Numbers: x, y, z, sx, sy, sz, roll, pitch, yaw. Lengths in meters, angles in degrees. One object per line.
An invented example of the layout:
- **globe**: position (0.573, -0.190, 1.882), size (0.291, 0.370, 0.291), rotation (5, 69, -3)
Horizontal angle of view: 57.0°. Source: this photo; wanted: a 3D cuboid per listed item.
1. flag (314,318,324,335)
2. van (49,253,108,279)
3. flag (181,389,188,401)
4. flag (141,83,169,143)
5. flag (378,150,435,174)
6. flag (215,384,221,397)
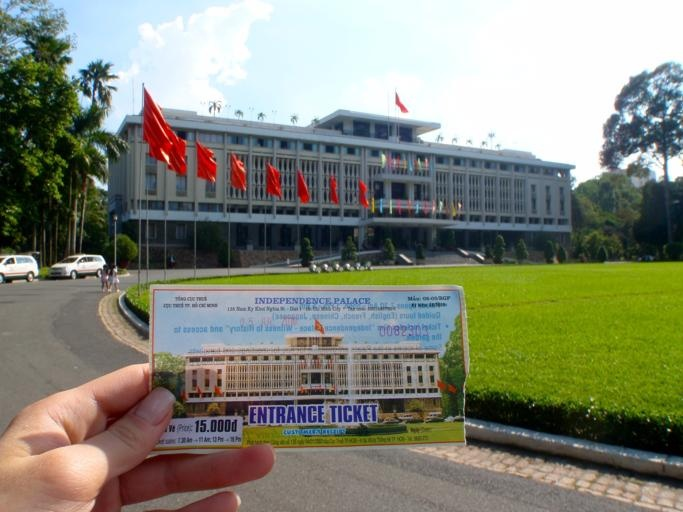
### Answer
- **flag**: position (-0.251, 0.809, 7.184), size (0.124, 0.212, 0.015), rotation (8, -12, -16)
- **van**: position (-14.881, 0.611, 35.801), size (1.004, 1.027, 2.398), rotation (-2, -3, 17)
- **flag**: position (-1.758, 1.564, 7.065), size (0.058, 0.123, 0.103), rotation (2, -11, -12)
- **flag**: position (-6.639, -4.925, 22.595), size (0.832, 1.674, 1.763), rotation (0, 0, -18)
- **flag**: position (7.092, -10.379, 69.931), size (6.833, 2.037, 1.102), rotation (-1, 0, -32)
- **flag**: position (-1.383, 1.530, 7.101), size (0.070, 0.122, 0.101), rotation (1, -11, -17)
